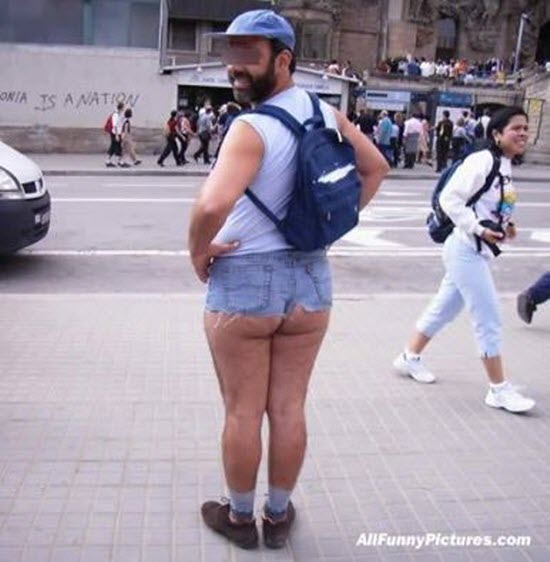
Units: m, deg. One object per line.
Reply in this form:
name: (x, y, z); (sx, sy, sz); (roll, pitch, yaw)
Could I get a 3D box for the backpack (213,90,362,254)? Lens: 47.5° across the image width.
backpack: (0.105, -0.350, 2.064); (0.319, 0.463, 0.321); (19, 34, 32)

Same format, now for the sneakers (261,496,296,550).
sneakers: (0.007, 0.968, 2.455); (0.090, 0.113, 0.276); (1, -7, 3)

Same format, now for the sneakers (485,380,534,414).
sneakers: (1.400, 0.689, 3.751); (0.285, 0.158, 0.143); (4, 19, 26)

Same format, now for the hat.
hat: (-0.035, -0.788, 1.977); (0.194, 0.094, 0.138); (1, 18, -30)

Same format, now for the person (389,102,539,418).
person: (1.199, -0.165, 3.813); (0.751, 1.780, 0.599); (3, 11, 7)

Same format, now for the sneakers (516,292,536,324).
sneakers: (2.138, 0.208, 5.356); (0.119, 0.302, 0.124); (-11, 8, -10)
